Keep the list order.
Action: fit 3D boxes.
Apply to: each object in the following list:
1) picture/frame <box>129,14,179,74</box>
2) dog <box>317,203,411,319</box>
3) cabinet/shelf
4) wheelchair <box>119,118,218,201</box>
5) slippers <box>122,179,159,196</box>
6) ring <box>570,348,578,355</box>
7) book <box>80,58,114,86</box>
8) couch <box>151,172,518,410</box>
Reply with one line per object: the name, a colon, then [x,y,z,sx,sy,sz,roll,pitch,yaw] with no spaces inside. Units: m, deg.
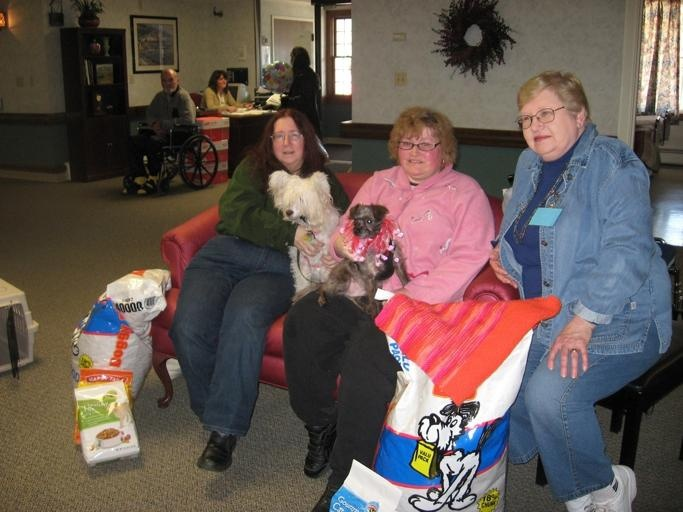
picture/frame: [-3.421,-3.858,10.032,0.213,1.073,1.160,5,15,23]
dog: [0.132,-0.051,2.654,0.373,0.619,0.574,-7,23,-7]
cabinet/shelf: [-3.447,-2.247,8.317,0.836,2.182,0.544,0,1,16]
wheelchair: [-2.324,-1.602,7.535,0.824,1.307,1.028,12,11,38]
slippers: [-2.747,-0.922,7.460,0.407,0.184,0.235,3,7,-8]
ring: [0.865,0.351,2.029,0.036,0.022,0.015,-8,15,-28]
book: [-3.654,-2.742,8.226,0.094,0.384,0.404,9,15,34]
couch: [-0.141,0.221,3.061,1.738,1.148,1.033,8,17,28]
